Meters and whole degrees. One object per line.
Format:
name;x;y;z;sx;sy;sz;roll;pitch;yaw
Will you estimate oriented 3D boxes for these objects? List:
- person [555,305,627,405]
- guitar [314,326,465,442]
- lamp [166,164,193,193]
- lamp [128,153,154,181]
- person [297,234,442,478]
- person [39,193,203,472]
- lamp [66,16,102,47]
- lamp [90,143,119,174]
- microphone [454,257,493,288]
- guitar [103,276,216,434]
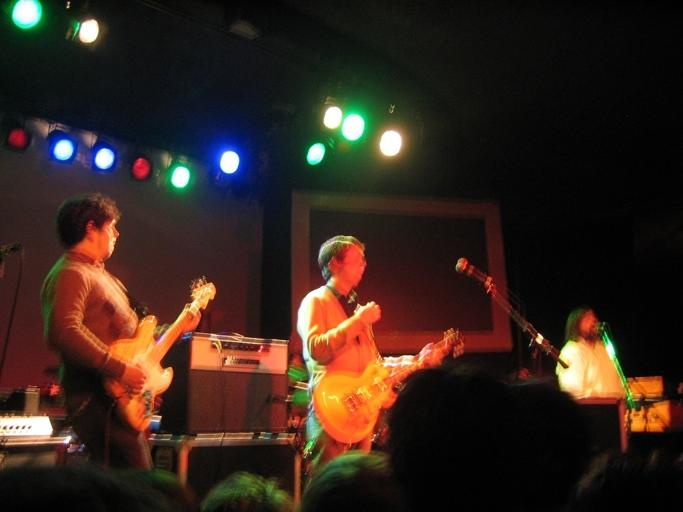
person;2.313;0.780;5.555;0.573;1.057;0.293;17;-41;-16
guitar;0.302;0.675;3.697;1.166;0.457;0.142;-32;-1;-44
lamp;-1.413;-0.694;5.309;0.206;0.191;0.170;7;-12;-23
lamp;-1.675;-0.740;5.102;0.175;0.199;0.047;2;2;-43
person;0.108;0.527;3.503;0.587;1.907;0.666;-24;-37;31
person;-1.199;0.353;3.076;0.608;1.402;0.350;8;-12;-28
lamp;-1.767;-1.562;4.160;0.143;0.173;0.201;-4;-13;26
lamp;-1.919;-0.803;4.914;0.194;0.217;0.106;7;-12;-22
microphone;1.166;0.153;5.394;0.335;0.116;0.112;34;-22;-19
guitar;-1.041;0.580;3.452;0.113;0.348;0.875;-24;15;14
